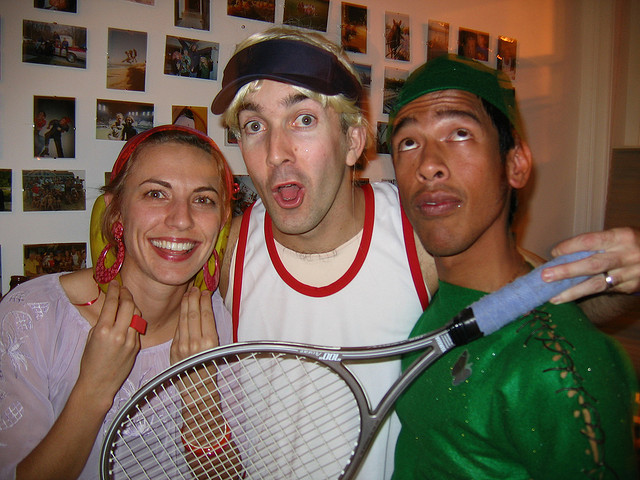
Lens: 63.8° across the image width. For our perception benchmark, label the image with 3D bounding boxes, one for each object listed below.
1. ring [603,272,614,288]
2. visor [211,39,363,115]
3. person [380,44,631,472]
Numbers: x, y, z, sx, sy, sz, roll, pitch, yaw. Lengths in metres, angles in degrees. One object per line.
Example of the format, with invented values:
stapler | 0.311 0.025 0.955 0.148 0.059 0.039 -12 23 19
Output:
ring | 0.992 0.139 1.773 0.009 0.043 0.042 -14 -23 -23
visor | -0.155 -0.700 2.222 0.671 0.287 0.247 1 4 3
person | 0.662 0.106 1.937 0.820 1.638 0.576 1 4 7
